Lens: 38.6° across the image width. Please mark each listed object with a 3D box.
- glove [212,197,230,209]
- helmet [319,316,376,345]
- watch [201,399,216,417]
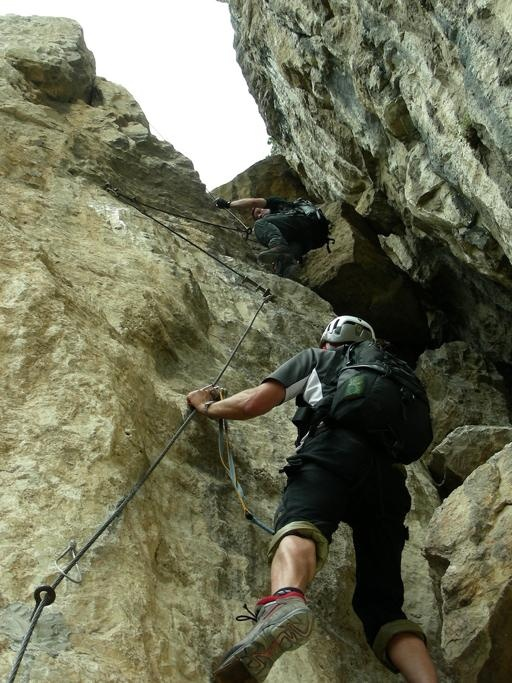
[{"bbox_3d":[-0.352,-1.412,7.465,0.208,0.076,0.115,9,-45,32],"label":"glove"},{"bbox_3d":[0.459,-0.034,3.499,0.158,0.170,0.197,27,-7,-29],"label":"helmet"},{"bbox_3d":[-0.206,0.299,3.343,0.033,0.087,0.062,3,-68,-13],"label":"watch"}]
